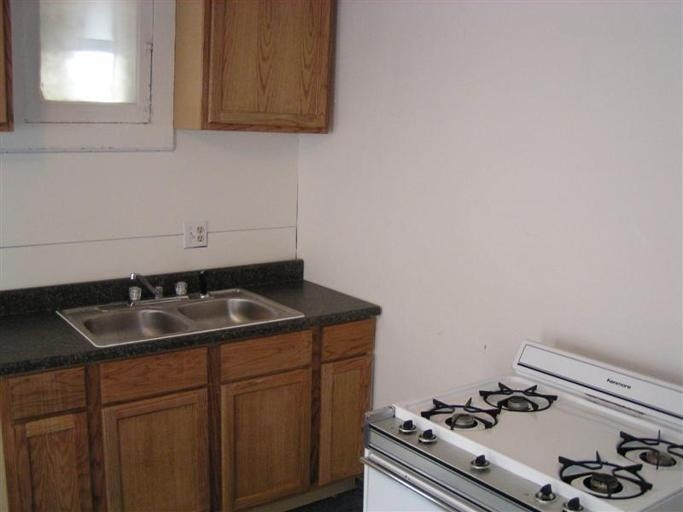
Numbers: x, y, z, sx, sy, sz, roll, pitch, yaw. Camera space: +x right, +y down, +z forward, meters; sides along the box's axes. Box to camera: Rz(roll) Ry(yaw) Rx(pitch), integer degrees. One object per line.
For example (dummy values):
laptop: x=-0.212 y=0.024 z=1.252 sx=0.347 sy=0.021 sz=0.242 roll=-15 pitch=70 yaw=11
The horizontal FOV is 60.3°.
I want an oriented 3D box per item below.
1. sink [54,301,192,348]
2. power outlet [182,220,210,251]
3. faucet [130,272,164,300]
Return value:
sink: x=-0.991 y=0.306 z=2.672 sx=0.326 sy=0.089 sz=0.286 roll=-6 pitch=15 yaw=-33
power outlet: x=-0.755 y=-0.110 z=3.025 sx=0.155 sy=0.148 sz=0.021 roll=-9 pitch=21 yaw=-38
faucet: x=-0.947 y=0.145 z=2.857 sx=0.156 sy=0.137 sz=0.159 roll=-2 pitch=10 yaw=-16
